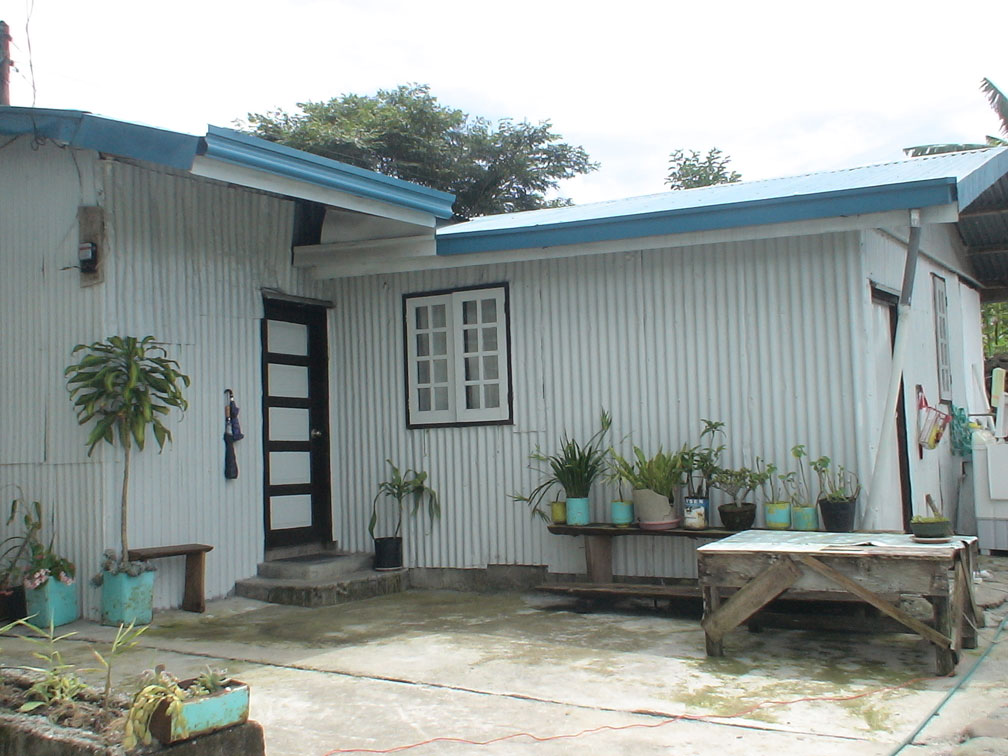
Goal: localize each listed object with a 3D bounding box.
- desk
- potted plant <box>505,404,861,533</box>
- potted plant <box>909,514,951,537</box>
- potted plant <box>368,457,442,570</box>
[{"bbox_3d":[2.371,1.542,6.382,1.785,0.912,1.009,-2,0,25],"label":"desk"},{"bbox_3d":[1.732,0.830,8.395,2.892,1.025,1.057,-1,-3,22],"label":"potted plant"},{"bbox_3d":[2.929,1.039,6.220,0.236,0.093,0.232,-1,-13,6],"label":"potted plant"},{"bbox_3d":[-1.124,1.425,9.294,0.864,1.150,0.377,-2,0,29],"label":"potted plant"}]
